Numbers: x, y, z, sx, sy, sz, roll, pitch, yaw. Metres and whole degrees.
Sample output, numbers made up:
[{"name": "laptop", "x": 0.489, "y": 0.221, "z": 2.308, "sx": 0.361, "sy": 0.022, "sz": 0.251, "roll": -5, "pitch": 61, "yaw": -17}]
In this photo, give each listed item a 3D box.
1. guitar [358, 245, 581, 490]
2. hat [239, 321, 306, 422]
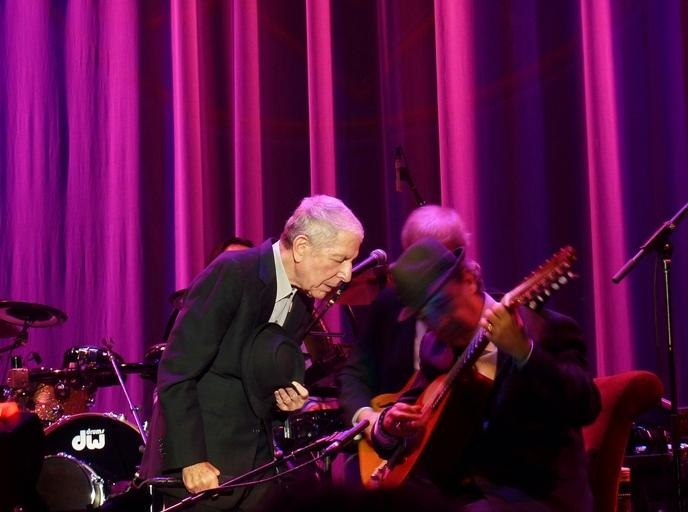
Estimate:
[{"name": "guitar", "x": 0.586, "y": 0.725, "z": 3.938, "sx": 0.264, "sy": 0.713, "sz": 1.805, "roll": 22, "pitch": -58, "yaw": -22}, {"name": "hat", "x": -0.353, "y": 0.554, "z": 3.718, "sx": 0.157, "sy": 0.429, "sz": 0.334, "roll": -3, "pitch": 10, "yaw": 43}]
